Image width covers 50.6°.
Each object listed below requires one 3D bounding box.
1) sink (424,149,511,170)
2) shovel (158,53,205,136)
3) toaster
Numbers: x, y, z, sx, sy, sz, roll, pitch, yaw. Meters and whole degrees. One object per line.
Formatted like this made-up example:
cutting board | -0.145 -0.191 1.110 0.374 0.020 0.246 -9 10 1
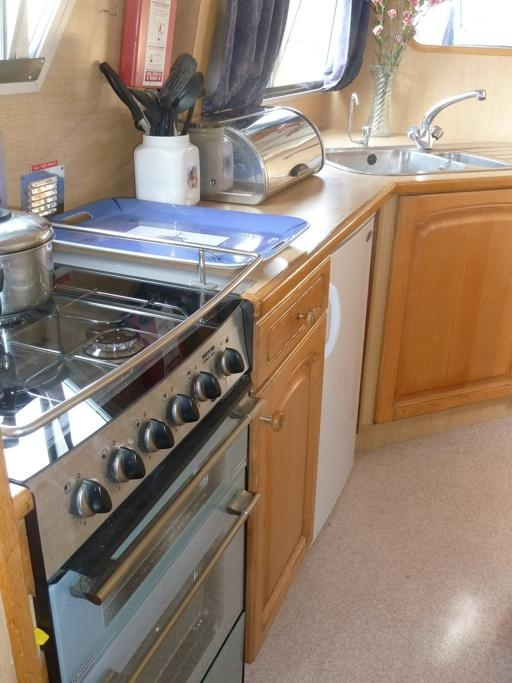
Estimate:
sink | 0.897 -0.749 2.289 0.177 0.076 0.376 -8 27 -21
shovel | -0.175 -0.604 1.297 0.078 0.238 0.036 19 47 -5
toaster | 0.007 -0.601 1.723 0.316 0.223 0.451 12 32 25
